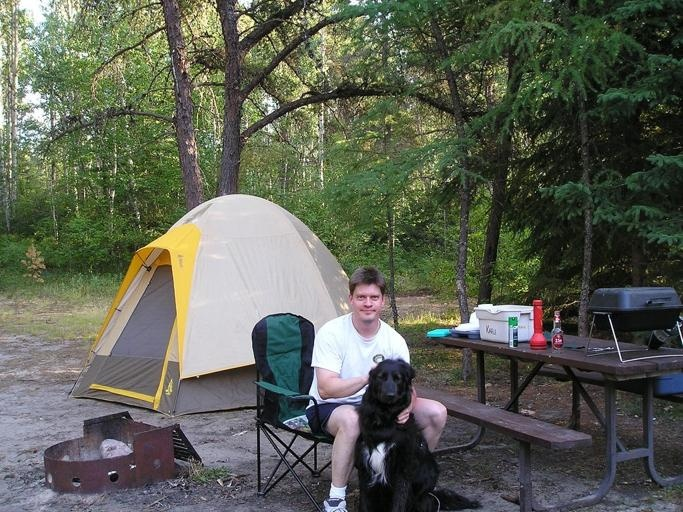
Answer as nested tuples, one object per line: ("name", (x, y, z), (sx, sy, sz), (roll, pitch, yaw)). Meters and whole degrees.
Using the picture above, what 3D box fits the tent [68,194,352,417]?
("tent", (-1.285, 0.584, 8.508), (3.203, 2.215, 2.465), (-2, 4, -42))

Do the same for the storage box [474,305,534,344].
("storage box", (1.575, 0.650, 5.999), (0.331, 0.258, 0.421), (2, -3, -35))
